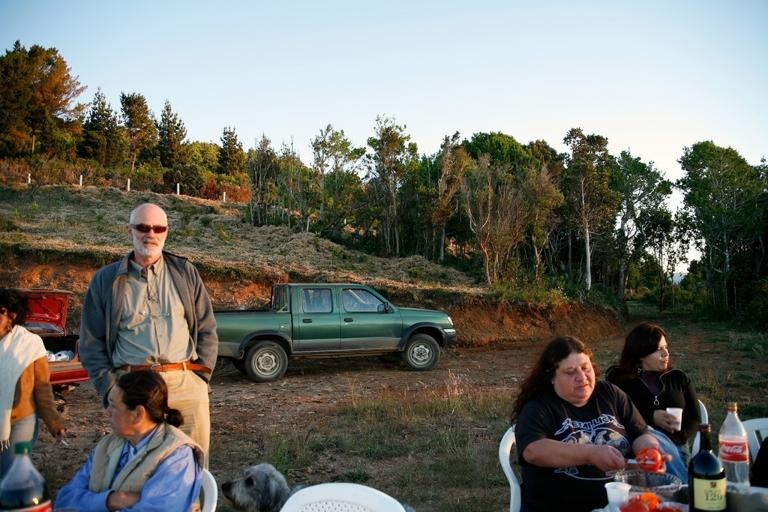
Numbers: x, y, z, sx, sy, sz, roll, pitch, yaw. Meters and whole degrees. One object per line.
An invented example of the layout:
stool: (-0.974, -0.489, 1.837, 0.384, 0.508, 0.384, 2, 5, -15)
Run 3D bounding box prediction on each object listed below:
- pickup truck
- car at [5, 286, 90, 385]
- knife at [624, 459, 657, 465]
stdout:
pickup truck: (-1.279, 1.702, 15.807, 4.999, 2.080, 2.396, -2, -2, -19)
car: (-6.395, 1.645, 12.593, 1.670, 2.107, 3.090, 2, -1, -32)
knife: (2.354, 1.882, 5.875, 0.040, 0.057, 0.459, -7, -15, 44)
